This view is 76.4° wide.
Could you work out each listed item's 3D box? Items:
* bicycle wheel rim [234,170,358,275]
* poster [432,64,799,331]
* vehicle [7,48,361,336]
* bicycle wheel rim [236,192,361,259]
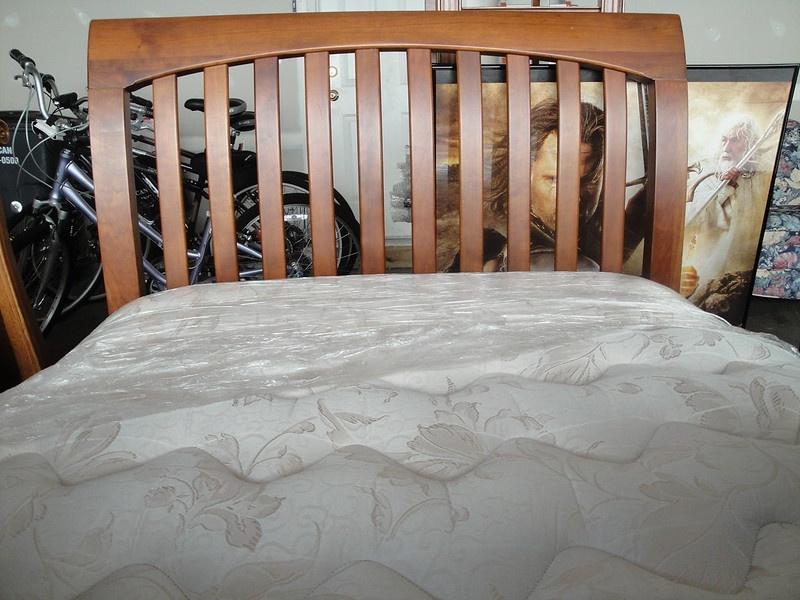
[{"bbox_3d":[-0.473,-0.350,2.424,0.599,0.559,0.129,-18,8,-3],"label":"bicycle wheel rim"},{"bbox_3d":[0.581,-0.325,1.427,1.072,0.726,0.049,-2,19,-5],"label":"poster"},{"bbox_3d":[-1.296,-0.506,2.753,2.191,1.342,1.060,3,13,-9],"label":"vehicle"},{"bbox_3d":[-0.393,-0.282,1.925,0.344,0.076,0.326,-3,33,-8],"label":"bicycle wheel rim"}]
